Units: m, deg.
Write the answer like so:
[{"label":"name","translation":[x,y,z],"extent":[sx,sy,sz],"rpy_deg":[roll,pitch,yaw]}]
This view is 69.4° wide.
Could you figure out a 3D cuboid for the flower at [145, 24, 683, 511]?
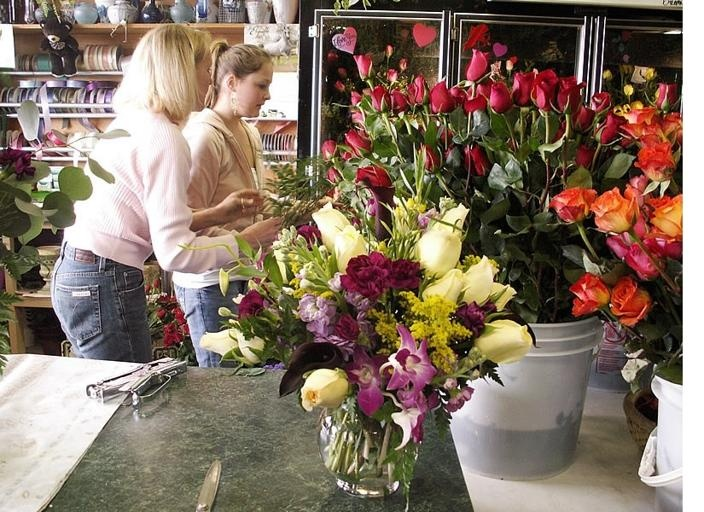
[{"label":"flower","translation":[0.052,0.040,0.891],"extent":[0.615,0.543,0.607],"rpy_deg":[0,44,-5]}]

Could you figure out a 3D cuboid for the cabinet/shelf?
[{"label":"cabinet/shelf","translation":[-0.670,0.130,1.812],"extent":[0.790,1.786,0.610],"rpy_deg":[5,14,0]}]

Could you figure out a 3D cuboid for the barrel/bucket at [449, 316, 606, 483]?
[{"label":"barrel/bucket","translation":[0.293,0.261,0.966],"extent":[0.310,0.242,0.307],"rpy_deg":[-1,-1,0]}]
